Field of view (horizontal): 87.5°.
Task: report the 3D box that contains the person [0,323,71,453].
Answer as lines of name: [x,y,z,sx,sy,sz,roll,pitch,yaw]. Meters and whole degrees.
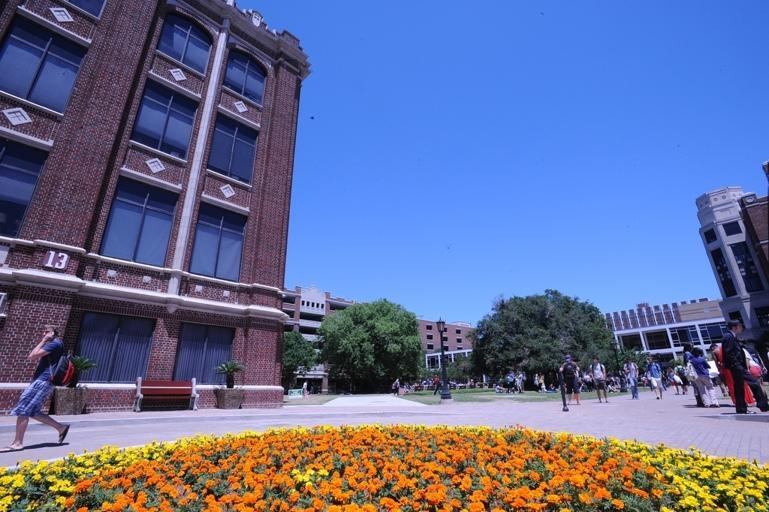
person: [-8.227,3.150,9.736,1.056,2.837,0.688,13,-22,-40]

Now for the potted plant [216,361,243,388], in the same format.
potted plant: [-6.903,5.319,17.969,1.100,1.054,1.099,-2,-12,2]
